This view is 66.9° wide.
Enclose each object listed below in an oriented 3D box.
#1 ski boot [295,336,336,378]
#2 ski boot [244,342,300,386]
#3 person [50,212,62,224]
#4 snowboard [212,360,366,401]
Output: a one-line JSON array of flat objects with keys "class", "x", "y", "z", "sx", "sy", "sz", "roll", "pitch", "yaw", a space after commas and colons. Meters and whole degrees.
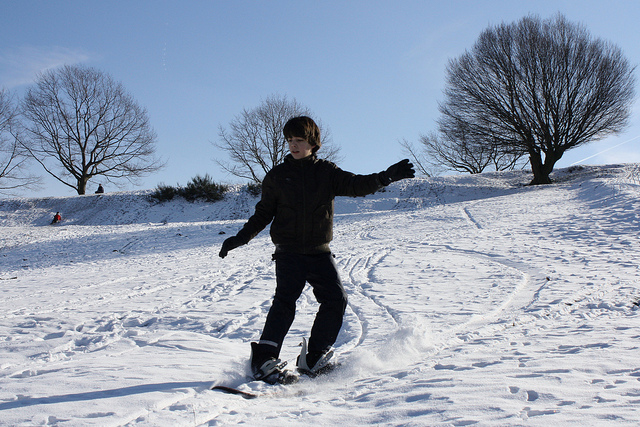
[{"class": "ski boot", "x": -0.042, "y": 1.646, "z": 5.584, "sx": 0.453, "sy": 0.431, "sz": 0.183, "roll": -1, "pitch": -4, "yaw": -1}, {"class": "ski boot", "x": -0.544, "y": 1.713, "z": 5.446, "sx": 0.687, "sy": 0.369, "sz": 0.252, "roll": 5, "pitch": -7, "yaw": 31}, {"class": "person", "x": -14.583, "y": 0.144, "z": 26.809, "sx": 0.642, "sy": 0.243, "sz": 0.862, "roll": 6, "pitch": -17, "yaw": -28}, {"class": "snowboard", "x": -0.311, "y": 1.849, "z": 5.378, "sx": 1.657, "sy": 0.217, "sz": 0.305, "roll": 0, "pitch": -4, "yaw": -22}]
